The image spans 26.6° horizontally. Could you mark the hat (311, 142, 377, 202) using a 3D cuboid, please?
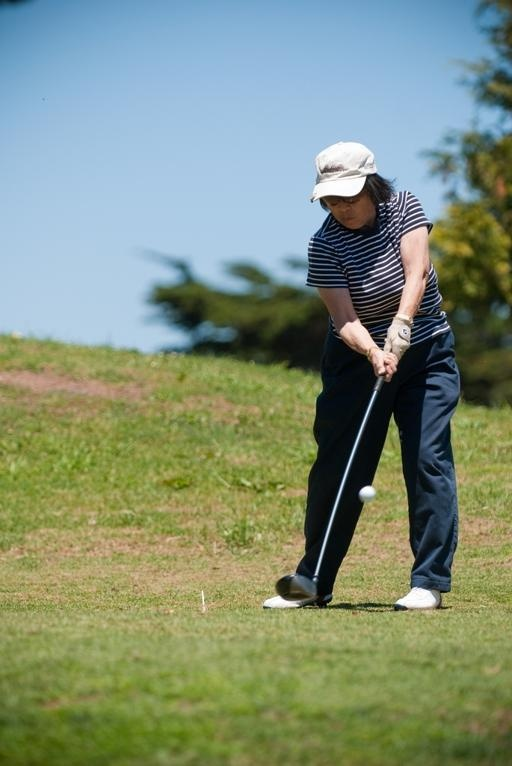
[{"bbox_3d":[0.284,-0.684,3.494,0.191,0.185,0.136,4,8,0],"label":"hat"}]

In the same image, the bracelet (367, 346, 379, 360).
[{"bbox_3d":[0.371,-0.094,3.480,0.040,0.037,0.045,14,18,33],"label":"bracelet"}]

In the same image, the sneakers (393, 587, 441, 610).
[{"bbox_3d":[0.520,0.701,3.510,0.130,0.043,0.066,4,-10,-27],"label":"sneakers"}]

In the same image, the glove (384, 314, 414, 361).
[{"bbox_3d":[0.466,-0.144,3.530,0.093,0.141,0.059,15,-3,39],"label":"glove"}]

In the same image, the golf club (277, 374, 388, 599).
[{"bbox_3d":[0.255,0.360,3.594,0.240,0.788,0.325,10,9,30],"label":"golf club"}]

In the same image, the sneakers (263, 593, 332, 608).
[{"bbox_3d":[0.147,0.745,3.634,0.234,0.076,0.072,6,-13,-17],"label":"sneakers"}]
